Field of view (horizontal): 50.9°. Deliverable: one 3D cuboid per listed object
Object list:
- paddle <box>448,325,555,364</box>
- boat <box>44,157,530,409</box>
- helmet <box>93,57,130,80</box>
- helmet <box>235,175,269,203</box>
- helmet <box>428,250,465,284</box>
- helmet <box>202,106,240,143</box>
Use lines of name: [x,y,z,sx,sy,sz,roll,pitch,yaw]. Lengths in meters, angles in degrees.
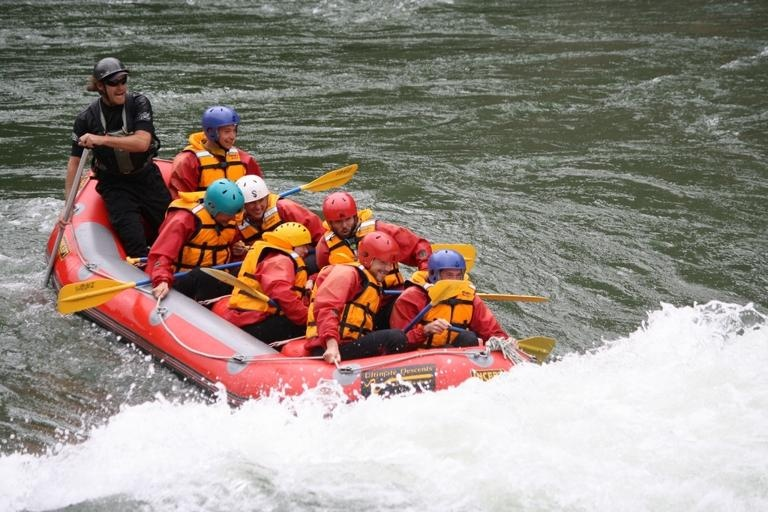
paddle: [1.097,0.864,7.714,1.057,0.256,0.093,7,13,-12]
boat: [-1.695,0.202,8.082,4.617,0.790,2.137,20,31,33]
helmet: [-3.117,-2.032,8.983,0.384,0.180,0.283,-9,12,45]
helmet: [-1.467,-0.742,8.998,0.306,0.269,0.372,-26,1,-25]
helmet: [0.677,0.104,7.949,0.324,0.272,0.380,1,20,-25]
helmet: [-1.959,-1.563,9.568,0.496,0.294,0.323,7,22,12]
